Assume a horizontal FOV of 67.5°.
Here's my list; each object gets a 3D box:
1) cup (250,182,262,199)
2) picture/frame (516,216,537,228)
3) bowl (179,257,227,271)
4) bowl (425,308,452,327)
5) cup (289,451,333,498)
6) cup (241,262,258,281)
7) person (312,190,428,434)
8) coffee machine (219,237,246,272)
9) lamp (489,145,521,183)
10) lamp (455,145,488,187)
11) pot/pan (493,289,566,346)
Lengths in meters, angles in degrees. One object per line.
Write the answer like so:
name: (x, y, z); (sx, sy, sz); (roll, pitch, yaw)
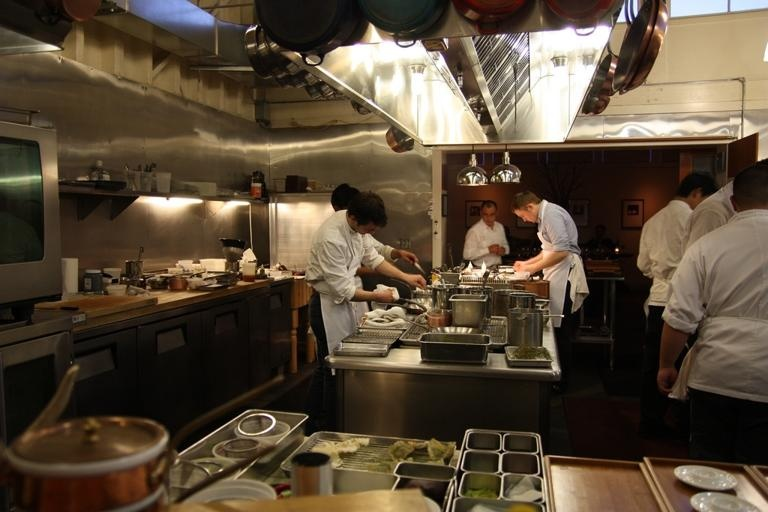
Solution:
cup: (-1.604, -0.826, 7.138); (0.134, 0.197, 0.183); (2, 14, -5)
picture/frame: (2.346, -0.571, 9.494); (0.405, 0.279, 0.041); (1, -4, 4)
bowl: (-1.810, 0.091, 5.818); (0.226, 0.103, 0.287); (-1, -5, -2)
bowl: (0.362, 0.391, 3.759); (0.150, 0.098, 0.254); (6, 14, 11)
cup: (-0.234, 0.678, 1.828); (0.133, 0.145, 0.131); (0, -4, 0)
cup: (-1.347, 0.139, 5.753); (0.174, 0.185, 0.173); (0, -2, 0)
person: (-0.230, 0.369, 4.394); (0.832, 1.734, 1.309); (6, 14, 10)
coffee machine: (-1.539, -0.011, 5.934); (0.315, 0.309, 0.313); (0, -2, -2)
lamp: (1.265, -0.941, 5.983); (0.213, 0.317, 0.472); (7, 14, 17)
lamp: (0.908, -0.909, 5.875); (0.331, 0.350, 0.322); (-2, 3, -24)
pot/pan: (0.887, 0.381, 3.563); (0.368, 0.234, 0.318); (0, -1, 12)
